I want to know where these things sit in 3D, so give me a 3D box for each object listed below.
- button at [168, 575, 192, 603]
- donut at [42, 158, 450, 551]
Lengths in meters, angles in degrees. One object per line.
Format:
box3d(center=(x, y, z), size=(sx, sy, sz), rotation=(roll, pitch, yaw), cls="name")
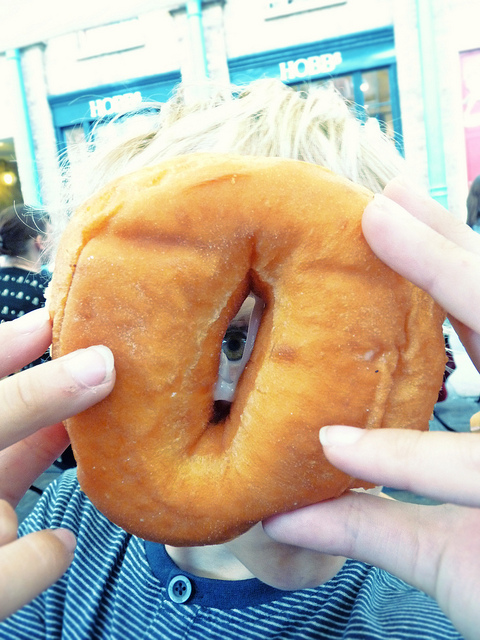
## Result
box3d(center=(-0.111, 0.500, 1.051), size=(0.039, 0.034, 0.035), rotation=(7, 23, 43), cls="button")
box3d(center=(0.022, 0.035, 0.703), size=(0.500, 0.462, 0.160), rotation=(-10, 18, -3), cls="donut")
